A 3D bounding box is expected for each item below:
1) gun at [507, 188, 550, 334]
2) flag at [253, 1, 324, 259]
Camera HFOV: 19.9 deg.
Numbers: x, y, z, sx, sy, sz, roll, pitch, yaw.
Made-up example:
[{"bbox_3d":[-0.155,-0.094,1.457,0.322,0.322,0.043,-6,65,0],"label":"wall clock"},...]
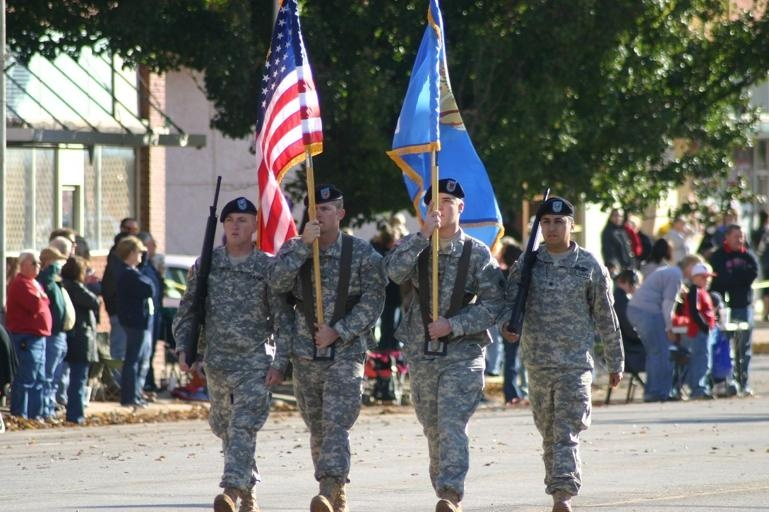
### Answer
[{"bbox_3d":[1.807,0.275,28.310,0.412,1.534,0.450,-1,-8,4],"label":"gun"},{"bbox_3d":[-1.142,-1.699,29.193,1.003,3.184,1.041,3,-4,-13],"label":"flag"}]
